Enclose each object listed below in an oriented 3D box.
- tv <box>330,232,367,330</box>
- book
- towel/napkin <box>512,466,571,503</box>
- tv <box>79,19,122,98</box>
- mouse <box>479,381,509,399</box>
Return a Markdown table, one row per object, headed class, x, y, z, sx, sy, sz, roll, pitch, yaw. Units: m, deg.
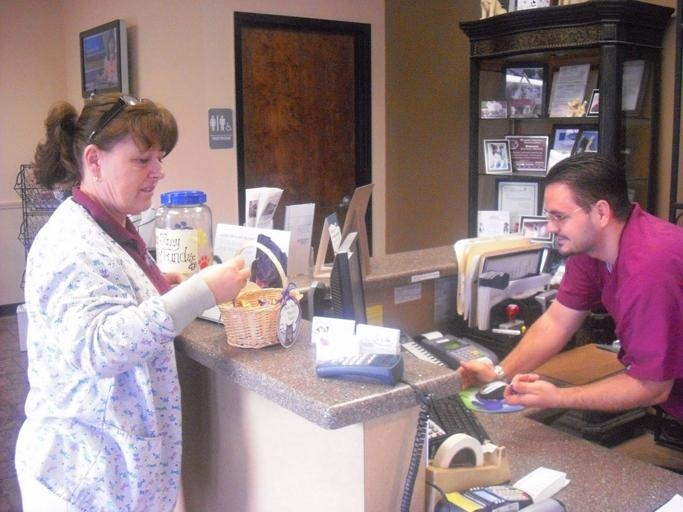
| class | x | y | z | sx | sy | sz | roll | pitch | yaw |
| --- | --- | --- | --- | --- | --- | --- | --- | --- | --- |
| tv | 0.017 | 0.069 | 1.803 | 0.111 | 0.279 | 0.270 | -3 | 12 | 0 |
| book | 0.637 | 0.059 | 2.301 | 0.308 | 0.450 | 0.134 | -4 | 15 | -27 |
| towel/napkin | 0.530 | 0.595 | 1.472 | 0.208 | 0.045 | 0.082 | -13 | 16 | -39 |
| tv | -2.025 | -1.630 | 4.733 | 0.789 | 0.600 | 0.084 | 10 | 13 | 44 |
| mouse | 0.498 | 0.423 | 1.788 | 0.073 | 0.025 | 0.055 | -7 | 12 | -8 |
